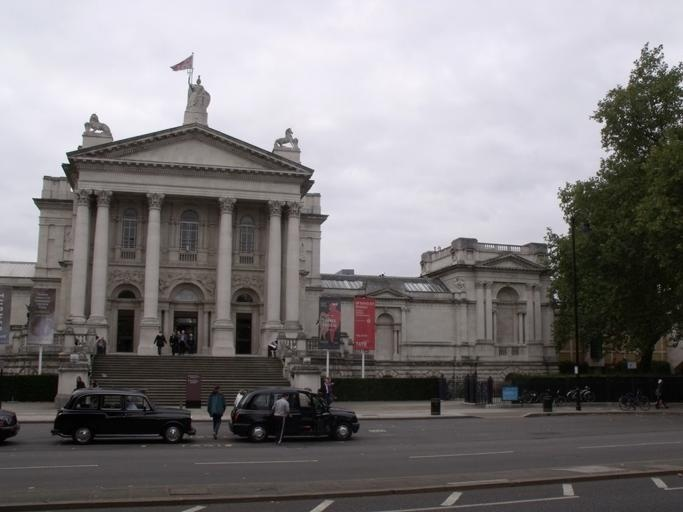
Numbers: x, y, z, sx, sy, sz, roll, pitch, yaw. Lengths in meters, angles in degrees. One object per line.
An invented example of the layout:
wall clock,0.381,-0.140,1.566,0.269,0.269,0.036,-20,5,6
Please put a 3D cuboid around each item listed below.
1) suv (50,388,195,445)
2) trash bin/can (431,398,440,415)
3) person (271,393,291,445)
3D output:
suv,-9.371,6.745,34.884,5.129,2.211,1.103,4,-11,-19
trash bin/can,5.575,8.917,49.142,0.826,1.109,0.750,1,-8,-7
person,-2.572,6.874,35.127,0.629,2.071,1.108,1,-10,-4
